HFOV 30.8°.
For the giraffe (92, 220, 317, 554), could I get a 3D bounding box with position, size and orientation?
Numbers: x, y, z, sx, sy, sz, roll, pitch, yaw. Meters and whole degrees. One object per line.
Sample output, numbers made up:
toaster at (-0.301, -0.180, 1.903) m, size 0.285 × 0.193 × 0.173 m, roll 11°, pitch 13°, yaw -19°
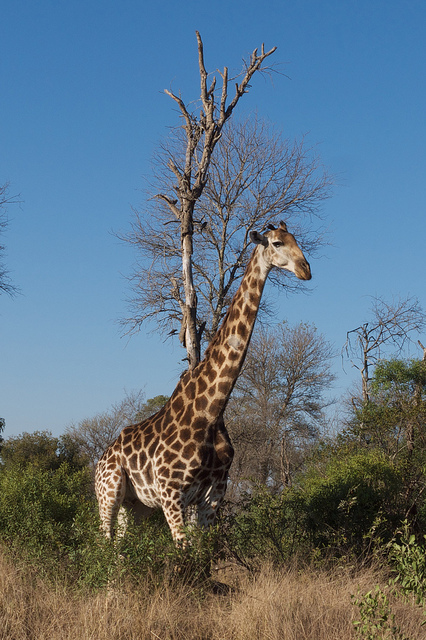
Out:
giraffe at (-0.241, 0.838, 8.667) m, size 1.104 × 3.517 × 2.834 m, roll 19°, pitch -22°, yaw -29°
